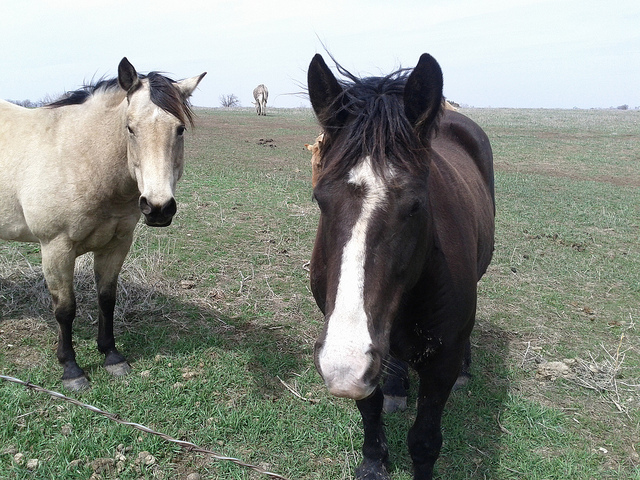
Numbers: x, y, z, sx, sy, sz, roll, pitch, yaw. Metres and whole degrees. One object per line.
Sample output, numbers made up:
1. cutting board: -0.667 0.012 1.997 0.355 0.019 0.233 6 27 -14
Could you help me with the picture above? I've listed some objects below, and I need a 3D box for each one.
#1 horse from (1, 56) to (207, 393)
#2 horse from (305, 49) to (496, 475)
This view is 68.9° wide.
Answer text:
1. horse: -2.520 -0.260 5.182 2.143 3.368 1.119 2 12 4
2. horse: 0.773 0.348 4.102 1.178 3.617 2.829 6 14 23
